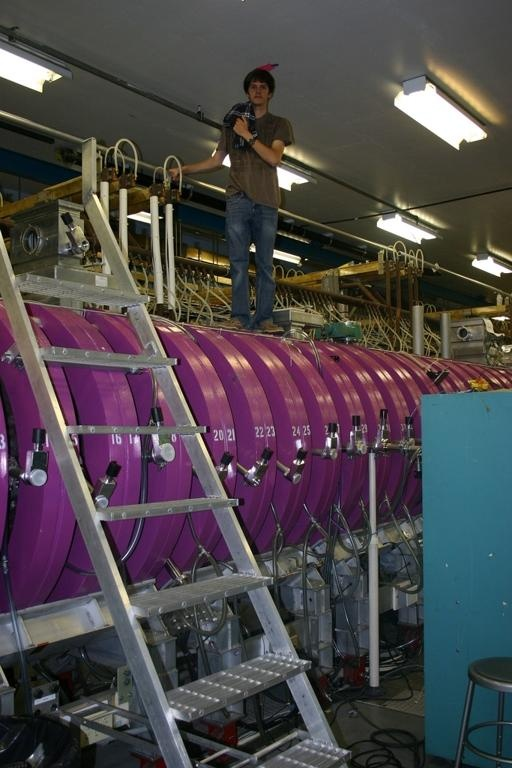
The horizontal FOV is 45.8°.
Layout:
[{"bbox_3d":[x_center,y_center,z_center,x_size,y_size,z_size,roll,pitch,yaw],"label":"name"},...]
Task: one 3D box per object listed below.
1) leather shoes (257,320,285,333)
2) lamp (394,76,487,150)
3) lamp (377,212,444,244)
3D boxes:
[{"bbox_3d":[0.078,-0.301,3.254,0.153,0.065,0.056,2,5,-27],"label":"leather shoes"},{"bbox_3d":[1.466,-2.137,4.813,0.852,0.376,0.382,-9,13,-42],"label":"lamp"},{"bbox_3d":[1.975,-1.993,7.720,0.270,0.121,0.917,-17,-16,35],"label":"lamp"}]
